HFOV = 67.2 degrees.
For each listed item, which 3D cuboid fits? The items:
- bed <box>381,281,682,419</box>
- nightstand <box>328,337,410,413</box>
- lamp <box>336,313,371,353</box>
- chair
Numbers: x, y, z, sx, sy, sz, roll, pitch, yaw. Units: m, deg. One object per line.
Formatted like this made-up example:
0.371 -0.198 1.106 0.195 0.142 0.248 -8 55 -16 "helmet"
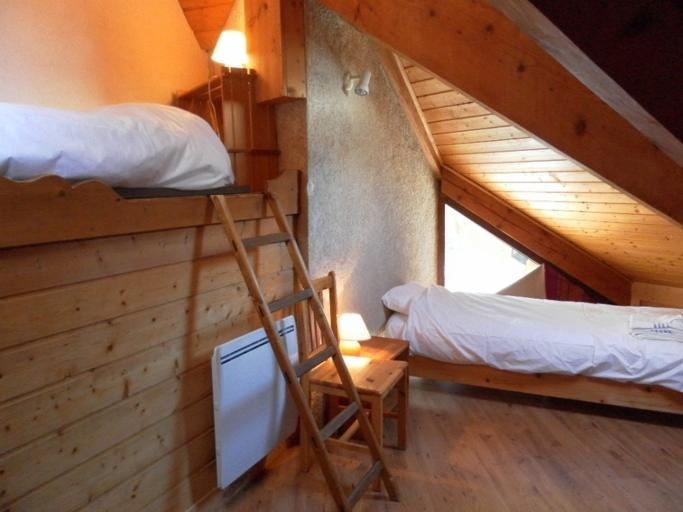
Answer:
1.226 0.590 3.640 1.443 0.464 0.955 3 25 16 "bed"
0.267 0.756 3.418 0.251 0.272 0.438 0 5 21 "nightstand"
0.069 0.462 3.355 0.220 0.228 0.218 -13 14 -36 "lamp"
0.067 0.672 3.179 0.677 1.112 0.929 3 14 16 "chair"
